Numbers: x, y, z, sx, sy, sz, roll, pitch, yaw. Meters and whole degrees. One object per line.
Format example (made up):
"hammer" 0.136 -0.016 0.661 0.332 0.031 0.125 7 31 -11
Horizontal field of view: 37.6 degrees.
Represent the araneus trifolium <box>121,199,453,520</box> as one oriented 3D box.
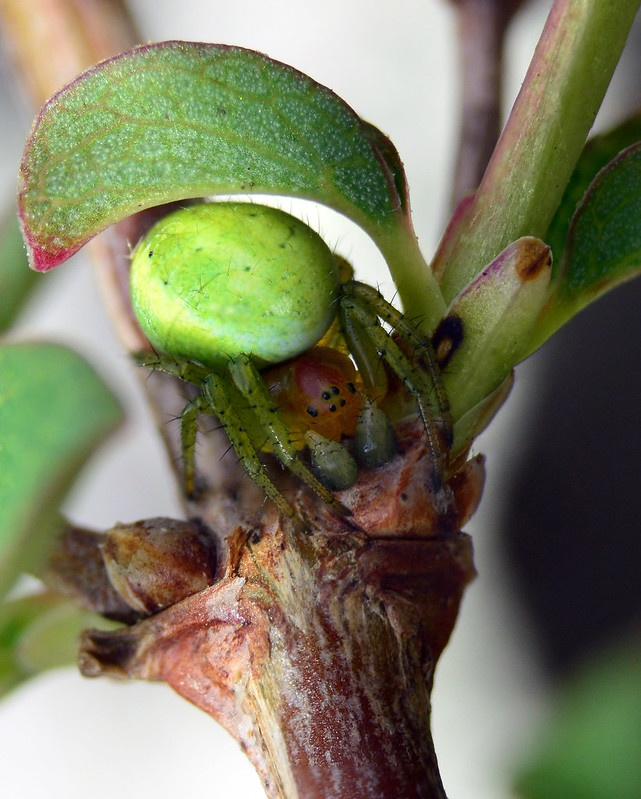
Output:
"araneus trifolium" -0.022 -0.036 0.556 0.147 0.093 0.190 -30 63 -22
